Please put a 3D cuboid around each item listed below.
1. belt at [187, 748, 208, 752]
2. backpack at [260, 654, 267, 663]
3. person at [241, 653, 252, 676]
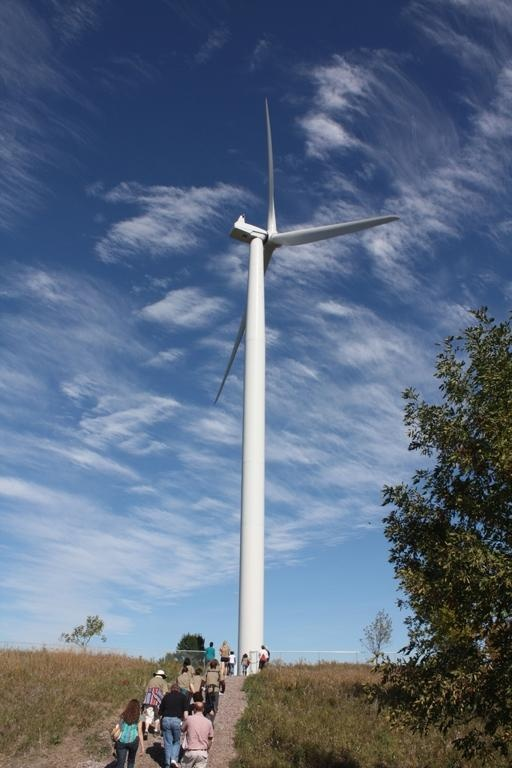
[{"bbox_3d":[-1.109,6.643,12.092,0.443,0.061,0.034,5,-7,-7],"label":"belt"},{"bbox_3d":[0.313,12.106,29.315,0.278,0.477,0.259,4,-51,0],"label":"backpack"},{"bbox_3d":[-0.476,12.293,29.214,0.398,0.604,1.396,3,-10,-1],"label":"person"}]
